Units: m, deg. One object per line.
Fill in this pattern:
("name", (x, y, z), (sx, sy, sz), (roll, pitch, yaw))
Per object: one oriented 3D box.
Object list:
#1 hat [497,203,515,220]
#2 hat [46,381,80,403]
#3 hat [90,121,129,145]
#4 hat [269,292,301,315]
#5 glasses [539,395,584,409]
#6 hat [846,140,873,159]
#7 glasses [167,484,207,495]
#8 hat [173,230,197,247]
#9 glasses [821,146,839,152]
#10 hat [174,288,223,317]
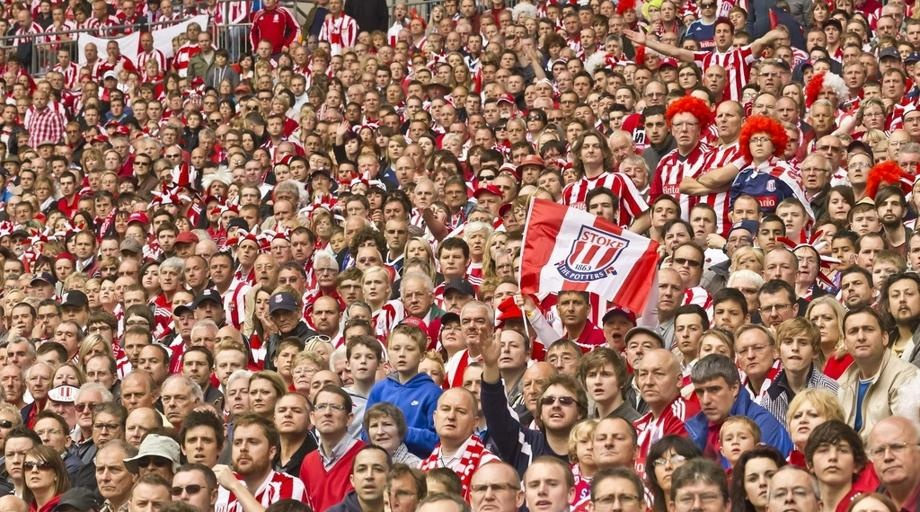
("hat", (0.772, -0.707, 34.526), (0.234, 0.280, 0.389), (-6, 25, -2))
("hat", (-6.200, 2.157, 32.306), (0.442, 0.194, 0.360), (-7, 25, -6))
("hat", (-7.281, -2.549, 43.192), (0.472, 0.333, 0.735), (-10, -8, 14))
("hat", (-2.806, 0.751, 33.010), (0.511, 0.290, 0.296), (-8, 26, -9))
("glasses", (1.441, 2.092, 29.517), (0.550, 0.169, 0.101), (-2, 27, 4))
("hat", (6.604, -1.761, 34.300), (0.301, 0.352, 0.412), (-10, -6, 26))
("glasses", (-3.898, 3.334, 29.478), (0.404, 0.129, 0.110), (-7, 26, -7))
("hat", (-4.819, -0.281, 36.444), (0.468, 0.197, 0.267), (-2, 25, 5))
("glasses", (6.192, -1.760, 34.571), (0.297, 0.090, 0.058), (-1, 27, 6))
("hat", (-4.289, 0.823, 34.126), (0.772, 0.451, 0.414), (7, 29, 23))
